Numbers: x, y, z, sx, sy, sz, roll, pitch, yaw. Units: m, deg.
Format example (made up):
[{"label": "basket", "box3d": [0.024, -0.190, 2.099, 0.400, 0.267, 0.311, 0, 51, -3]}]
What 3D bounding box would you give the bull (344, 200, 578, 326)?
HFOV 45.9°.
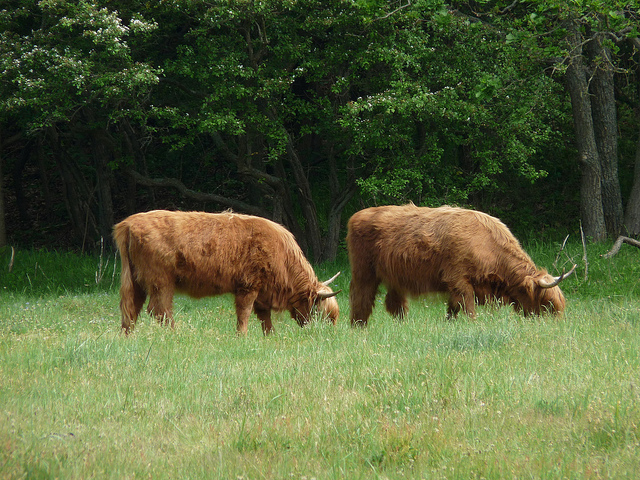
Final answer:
[{"label": "bull", "box3d": [2.103, 0.390, 12.735, 3.256, 1.976, 0.586, -2, 3, 1]}]
